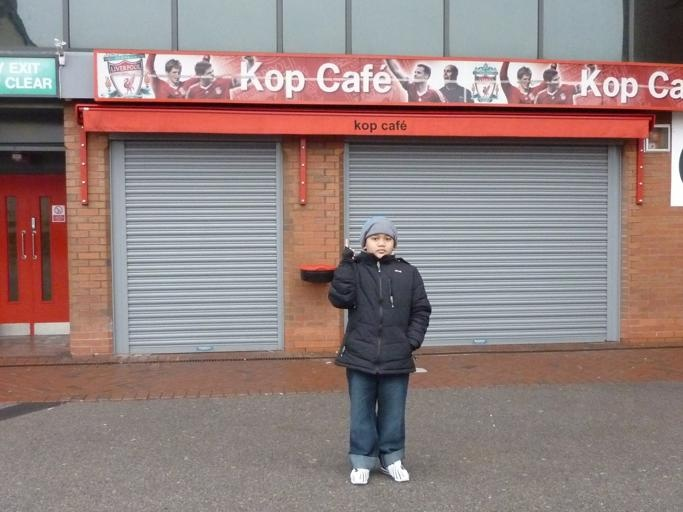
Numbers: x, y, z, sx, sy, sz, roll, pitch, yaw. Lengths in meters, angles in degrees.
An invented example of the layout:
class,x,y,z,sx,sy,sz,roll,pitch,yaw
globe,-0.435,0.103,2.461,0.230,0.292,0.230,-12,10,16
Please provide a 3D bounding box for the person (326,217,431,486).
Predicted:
class,x,y,z,sx,sy,sz,roll,pitch,yaw
person,0.376,0.952,8.618,0.992,2.629,0.742,0,12,-1

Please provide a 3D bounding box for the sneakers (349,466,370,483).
class,x,y,z,sx,sy,sz,roll,pitch,yaw
sneakers,0.190,2.215,8.587,0.204,0.159,0.163,0,12,-3

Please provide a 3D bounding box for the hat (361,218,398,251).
class,x,y,z,sx,sy,sz,roll,pitch,yaw
hat,0.392,-0.242,8.775,0.356,0.252,0.334,2,-11,-4

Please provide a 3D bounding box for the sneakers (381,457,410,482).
class,x,y,z,sx,sy,sz,roll,pitch,yaw
sneakers,0.567,2.208,8.637,0.145,0.152,0.368,-1,-9,-25
